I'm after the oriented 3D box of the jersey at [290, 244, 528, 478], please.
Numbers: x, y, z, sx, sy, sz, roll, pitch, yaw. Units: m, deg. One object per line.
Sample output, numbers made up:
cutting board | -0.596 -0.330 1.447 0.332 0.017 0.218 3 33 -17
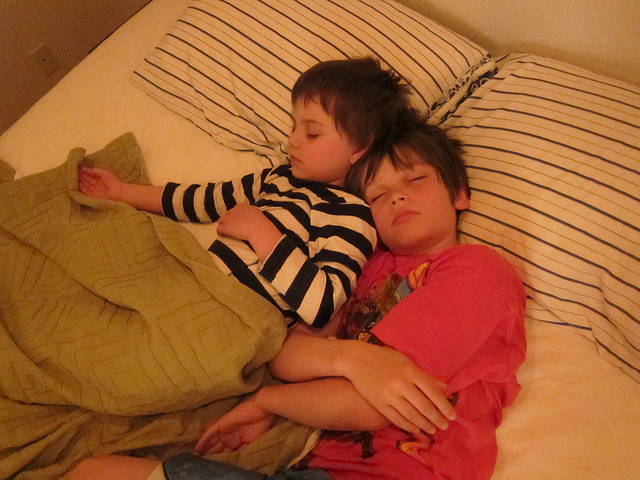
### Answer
jersey | 0.251 0.295 1.299 0.504 0.612 0.249 9 -13 38
